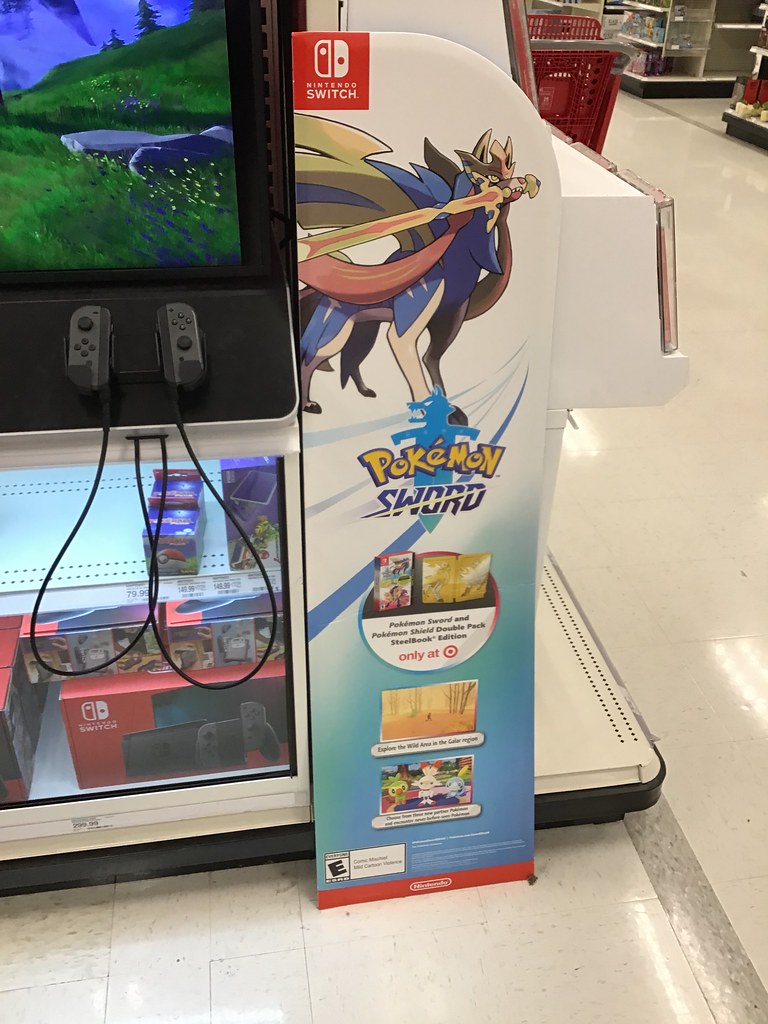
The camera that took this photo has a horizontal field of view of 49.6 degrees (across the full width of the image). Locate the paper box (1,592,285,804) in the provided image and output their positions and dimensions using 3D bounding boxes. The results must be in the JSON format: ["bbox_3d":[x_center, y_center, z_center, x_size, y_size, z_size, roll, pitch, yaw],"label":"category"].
[{"bbox_3d":[-0.524,0.394,1.789,0.452,0.378,0.242,-3,30,-11],"label":"paper box"}]
